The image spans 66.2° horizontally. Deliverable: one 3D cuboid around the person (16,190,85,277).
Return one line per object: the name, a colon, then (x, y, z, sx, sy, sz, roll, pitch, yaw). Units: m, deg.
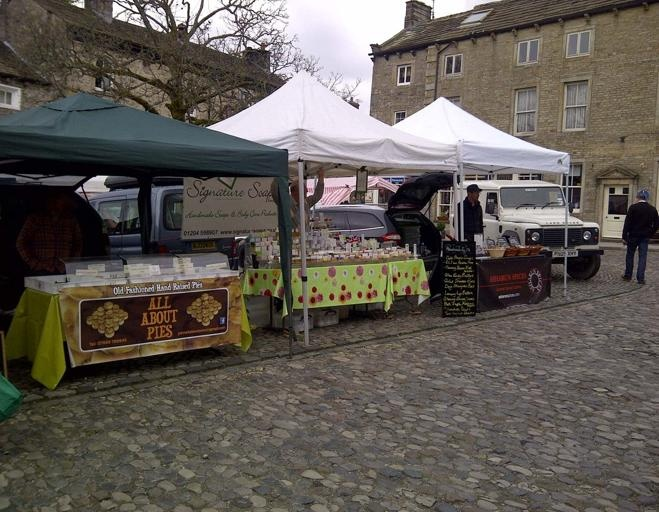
person: (-3.767, -0.292, 6.803, 0.760, 1.056, 0.392, -3, 9, -27)

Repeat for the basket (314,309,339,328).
basket: (-0.052, 0.977, 7.982, 0.269, 0.238, 0.445, -1, 0, 43)

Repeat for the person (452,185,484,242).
person: (2.999, -0.920, 10.763, 0.499, 1.150, 2.210, 3, 8, 16)

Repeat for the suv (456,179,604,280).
suv: (5.032, -0.845, 13.646, 2.585, 2.181, 4.106, -2, 13, -11)

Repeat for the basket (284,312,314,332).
basket: (-0.492, 0.985, 7.571, 0.325, 0.215, 0.328, -2, -1, 43)

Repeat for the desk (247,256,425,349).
desk: (0.208, 0.563, 7.914, 2.949, 0.955, 0.745, -4, 9, -35)

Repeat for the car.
car: (-0.116, -0.347, 10.711, 3.094, 1.277, 1.576, -1, 4, -30)

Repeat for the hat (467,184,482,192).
hat: (3.079, -1.426, 10.788, 0.368, 0.161, 0.263, -10, 13, -38)
